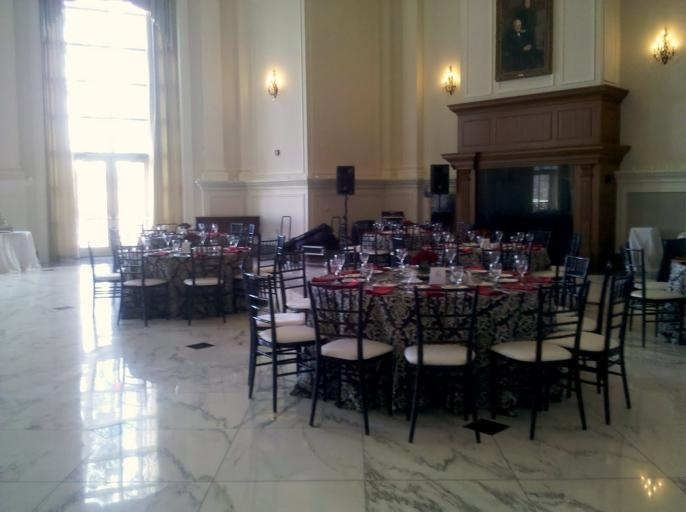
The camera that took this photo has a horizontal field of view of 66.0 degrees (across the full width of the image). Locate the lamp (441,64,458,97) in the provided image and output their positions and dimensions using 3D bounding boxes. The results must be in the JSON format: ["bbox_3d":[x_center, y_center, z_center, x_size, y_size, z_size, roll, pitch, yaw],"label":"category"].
[{"bbox_3d":[2.478,-4.045,12.140,0.360,0.705,0.144,2,8,25],"label":"lamp"}]

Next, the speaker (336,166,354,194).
[{"bbox_3d":[0.043,-1.716,11.913,0.521,0.788,0.410,1,9,-3],"label":"speaker"}]

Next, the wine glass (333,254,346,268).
[{"bbox_3d":[-0.022,0.033,4.764,0.085,0.126,0.124,1,-16,11],"label":"wine glass"}]

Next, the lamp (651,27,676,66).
[{"bbox_3d":[5.813,-3.814,9.581,0.388,0.655,0.139,3,9,33],"label":"lamp"}]

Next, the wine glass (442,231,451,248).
[{"bbox_3d":[1.501,-0.242,7.575,0.079,0.273,0.191,9,-9,-44],"label":"wine glass"}]

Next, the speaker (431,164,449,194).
[{"bbox_3d":[2.136,-1.698,11.697,0.443,0.653,0.266,-2,7,-7],"label":"speaker"}]

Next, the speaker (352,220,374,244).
[{"bbox_3d":[0.370,-0.533,11.369,0.505,0.507,0.890,0,-2,-1],"label":"speaker"}]

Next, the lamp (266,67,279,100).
[{"bbox_3d":[-1.742,-4.207,12.896,0.433,0.717,0.150,6,10,44],"label":"lamp"}]

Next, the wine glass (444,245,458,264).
[{"bbox_3d":[1.222,-0.014,6.038,0.147,0.245,0.153,-6,42,4],"label":"wine glass"}]
